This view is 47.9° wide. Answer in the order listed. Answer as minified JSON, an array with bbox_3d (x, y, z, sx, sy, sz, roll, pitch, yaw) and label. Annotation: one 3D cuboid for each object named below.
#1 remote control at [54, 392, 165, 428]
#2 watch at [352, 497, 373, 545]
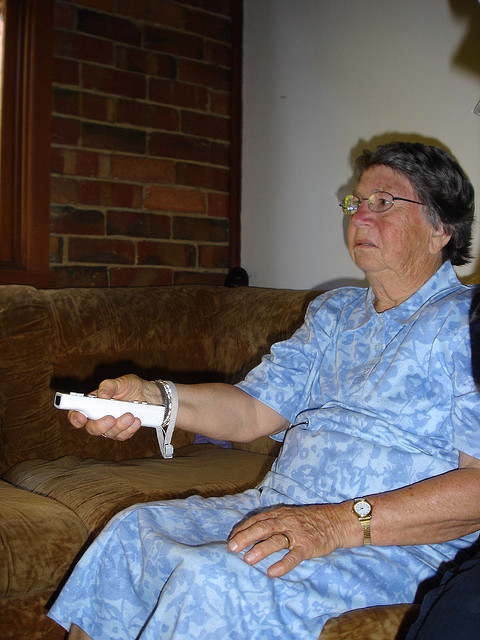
[{"bbox_3d":[-0.203,0.150,0.887,0.065,0.071,0.183,-4,-4,39],"label":"remote control"},{"bbox_3d":[0.186,0.300,0.791,0.032,0.053,0.056,-8,18,18],"label":"watch"}]
